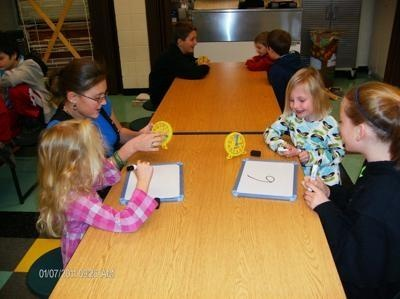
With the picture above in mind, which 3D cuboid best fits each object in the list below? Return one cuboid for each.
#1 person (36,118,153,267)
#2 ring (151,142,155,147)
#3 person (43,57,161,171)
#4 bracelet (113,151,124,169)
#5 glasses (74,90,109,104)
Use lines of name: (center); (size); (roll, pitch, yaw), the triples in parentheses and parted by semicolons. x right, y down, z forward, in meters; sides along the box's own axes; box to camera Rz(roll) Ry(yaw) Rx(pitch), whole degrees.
person: (-0.499, 0.203, 1.347); (0.444, 0.874, 0.445); (-10, 58, -13)
ring: (-0.293, -0.033, 1.739); (0.026, 0.024, 0.007); (-4, 8, -12)
person: (-0.644, -0.201, 1.998); (0.727, 0.760, 0.501); (4, 33, -13)
bracelet: (-0.496, 0.061, 1.760); (0.030, 0.084, 0.071); (-28, -8, -14)
glasses: (-0.690, -0.337, 1.816); (0.177, 0.078, 0.078); (-15, 28, -26)
